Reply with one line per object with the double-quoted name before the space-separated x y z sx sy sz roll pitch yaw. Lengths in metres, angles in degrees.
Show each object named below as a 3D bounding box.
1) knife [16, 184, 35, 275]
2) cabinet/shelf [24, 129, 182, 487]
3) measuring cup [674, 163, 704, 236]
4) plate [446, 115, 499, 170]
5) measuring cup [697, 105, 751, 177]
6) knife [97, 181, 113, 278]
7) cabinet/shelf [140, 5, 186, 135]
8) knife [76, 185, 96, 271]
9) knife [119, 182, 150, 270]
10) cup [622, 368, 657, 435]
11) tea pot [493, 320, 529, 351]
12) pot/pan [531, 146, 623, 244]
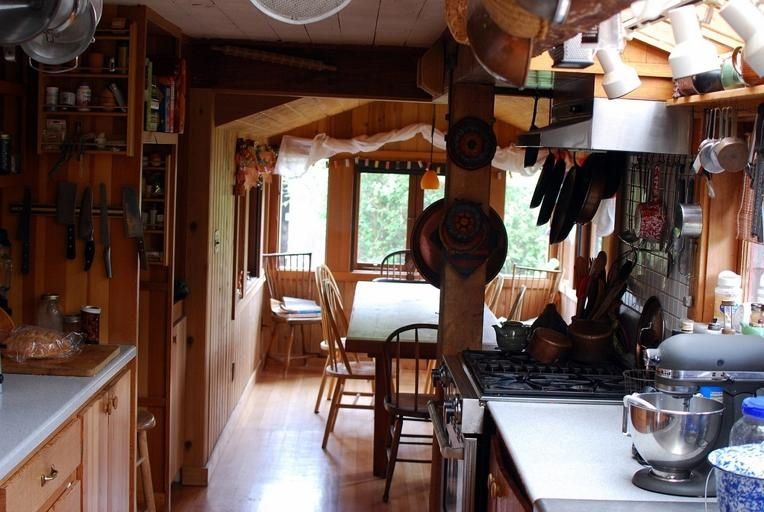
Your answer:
"knife" -1.921 -0.134 3.192 0.086 0.472 0.054 1 6 -11
"cabinet/shelf" -1.509 0.387 3.647 0.565 2.025 0.966 0 20 -2
"measuring cup" 1.331 -0.251 2.572 0.107 0.334 0.153 0 8 18
"plate" 0.465 -0.583 3.038 0.254 0.264 0.061 -9 0 -2
"measuring cup" 1.332 -0.428 2.289 0.118 0.329 0.169 -4 12 -16
"knife" -1.511 -0.138 3.255 0.071 0.519 0.049 7 8 35
"cabinet/shelf" -1.322 -1.099 3.672 0.254 0.678 0.882 0 8 -20
"knife" -1.612 -0.149 3.233 0.092 0.462 0.043 3 6 9
"knife" -1.375 -0.164 3.302 0.091 0.422 0.142 4 10 3
"cup" 1.044 0.581 2.519 0.130 0.320 0.166 3 11 7
"tea pot" 0.687 0.423 3.161 0.181 0.128 0.133 2 -2 6
"pot/pan" 1.013 -0.319 3.196 0.474 0.490 0.452 8 9 36
